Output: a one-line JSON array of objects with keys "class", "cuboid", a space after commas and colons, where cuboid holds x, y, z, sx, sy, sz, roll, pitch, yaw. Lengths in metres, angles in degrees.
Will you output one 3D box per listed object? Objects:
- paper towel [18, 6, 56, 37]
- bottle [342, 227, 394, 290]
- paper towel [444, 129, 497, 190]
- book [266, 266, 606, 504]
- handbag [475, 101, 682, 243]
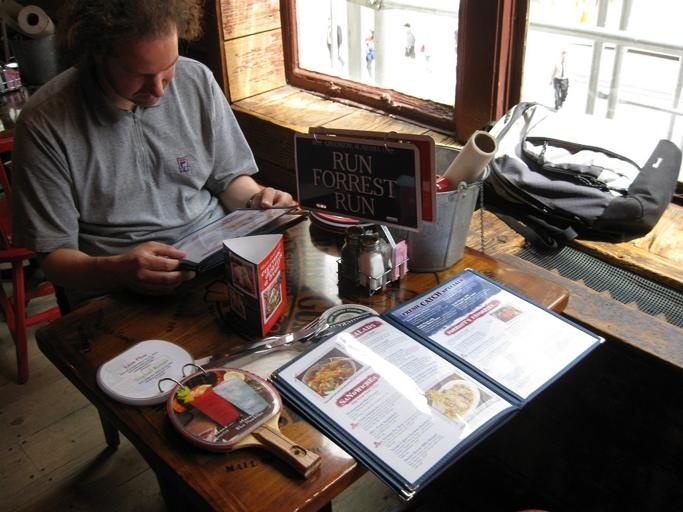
[{"class": "paper towel", "cuboid": [-1.611, -1.238, 2.658, 0.198, 0.152, 0.204, -16, 25, -32]}, {"class": "bottle", "cuboid": [0.070, 0.005, 1.308, 0.130, 0.133, 0.113, 23, 42, 30]}, {"class": "paper towel", "cuboid": [0.336, -0.246, 1.298, 0.137, 0.143, 0.082, -17, 40, -24]}, {"class": "book", "cuboid": [0.194, 0.322, 1.145, 0.672, 0.043, 0.407, -24, 41, -31]}, {"class": "handbag", "cuboid": [0.931, -0.354, 1.963, 0.669, 0.386, 0.578, 22, 39, 29]}]
